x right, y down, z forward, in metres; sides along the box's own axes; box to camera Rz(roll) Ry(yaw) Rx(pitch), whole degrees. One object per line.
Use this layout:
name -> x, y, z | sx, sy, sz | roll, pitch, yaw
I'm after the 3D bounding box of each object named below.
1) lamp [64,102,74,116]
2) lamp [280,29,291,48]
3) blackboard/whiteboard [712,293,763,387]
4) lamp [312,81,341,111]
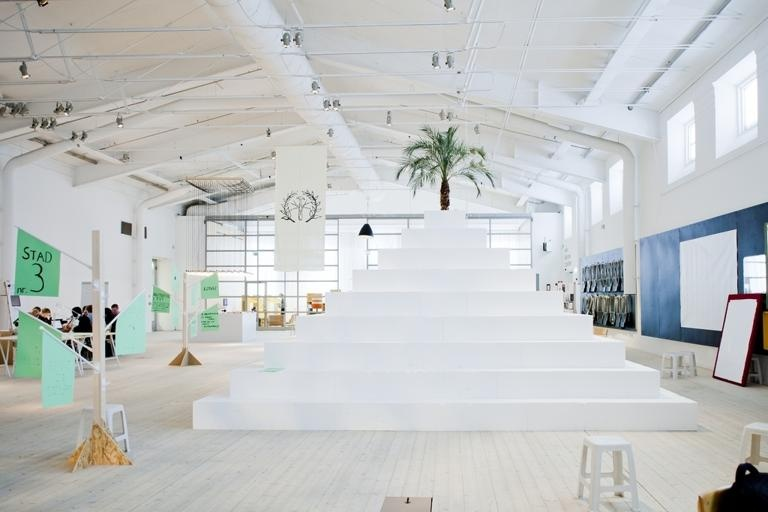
lamp -> -7.301, -3.393, 11.722 | 0.128, 0.313, 0.477 | -2, 2, -33
lamp -> -1.804, -3.983, 9.349 | 0.147, 0.371, 0.394 | -1, 1, -9
blackboard/whiteboard -> 6.668, 1.539, 9.643 | 0.441, 1.704, 0.921 | -1, 2, -2
lamp -> -1.370, -3.753, 12.049 | 0.496, 1.076, 0.289 | -10, -25, -13
